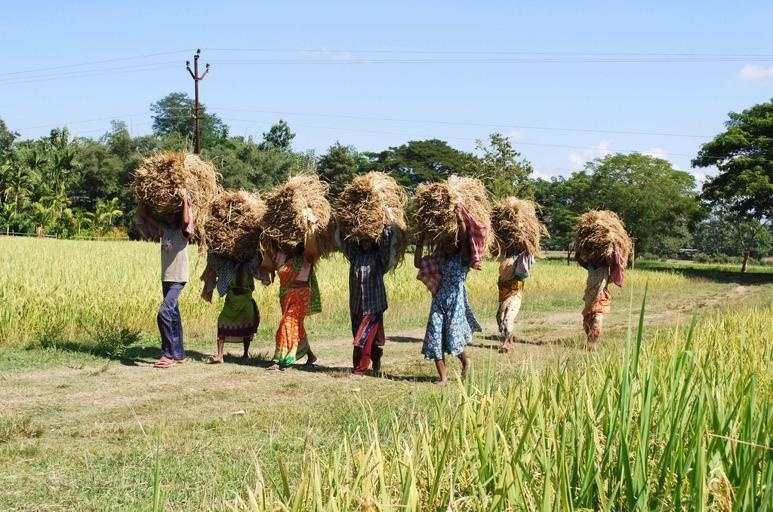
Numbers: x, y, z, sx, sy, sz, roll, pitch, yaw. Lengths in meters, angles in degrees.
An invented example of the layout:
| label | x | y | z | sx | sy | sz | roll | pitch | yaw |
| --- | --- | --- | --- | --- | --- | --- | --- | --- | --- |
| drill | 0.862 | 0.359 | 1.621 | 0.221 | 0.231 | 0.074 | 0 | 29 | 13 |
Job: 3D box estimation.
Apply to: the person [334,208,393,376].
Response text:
| label | x | y | z | sx | sy | sz | roll | pitch | yaw |
| --- | --- | --- | --- | --- | --- | --- | --- | --- | --- |
| person | -0.313 | 0.504 | 10.503 | 0.751 | 2.238 | 0.576 | 2 | -2 | -13 |

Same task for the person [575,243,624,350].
| label | x | y | z | sx | sy | sz | roll | pitch | yaw |
| --- | --- | --- | --- | --- | --- | --- | --- | --- | --- |
| person | 3.413 | 0.642 | 12.389 | 0.701 | 1.603 | 0.736 | 2 | -2 | 6 |

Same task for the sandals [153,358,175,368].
| label | x | y | z | sx | sy | sz | roll | pitch | yaw |
| --- | --- | --- | --- | --- | --- | --- | --- | --- | --- |
| sandals | -3.008 | 1.477 | 10.557 | 0.340 | 0.101 | 0.163 | 4 | -2 | -40 |

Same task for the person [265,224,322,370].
| label | x | y | z | sx | sy | sz | roll | pitch | yaw |
| --- | --- | --- | --- | --- | --- | --- | --- | --- | --- |
| person | -1.264 | 0.583 | 10.740 | 0.707 | 1.999 | 0.566 | 3 | -2 | -26 |

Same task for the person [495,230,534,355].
| label | x | y | z | sx | sy | sz | roll | pitch | yaw |
| --- | --- | --- | --- | --- | --- | --- | --- | --- | --- |
| person | 2.046 | 0.640 | 12.480 | 0.569 | 1.791 | 0.453 | 2 | -2 | 9 |

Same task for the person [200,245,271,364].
| label | x | y | z | sx | sy | sz | roll | pitch | yaw |
| --- | --- | --- | --- | --- | --- | --- | --- | --- | --- |
| person | -2.203 | 0.768 | 11.163 | 0.968 | 1.537 | 0.541 | 2 | -2 | -9 |
